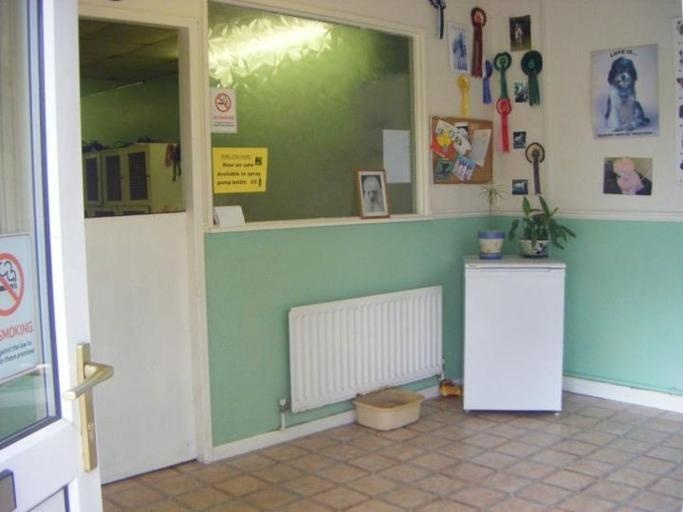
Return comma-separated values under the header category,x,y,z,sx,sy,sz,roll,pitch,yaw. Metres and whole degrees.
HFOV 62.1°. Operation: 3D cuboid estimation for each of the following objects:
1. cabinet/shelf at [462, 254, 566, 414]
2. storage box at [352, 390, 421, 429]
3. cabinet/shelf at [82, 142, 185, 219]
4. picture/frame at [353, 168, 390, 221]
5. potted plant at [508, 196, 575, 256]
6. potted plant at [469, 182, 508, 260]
category,x,y,z,sx,sy,sz,roll,pitch,yaw
cabinet/shelf,1.127,0.529,3.722,0.629,0.976,0.196,0,8,19
storage box,0.316,0.938,3.636,0.291,0.112,0.247,-2,3,-40
cabinet/shelf,-1.920,-0.686,5.115,0.359,0.616,1.829,-9,10,-39
picture/frame,0.186,-0.406,3.757,0.038,0.383,0.303,-4,5,44
potted plant,1.448,-0.247,4.093,0.447,0.332,0.452,7,14,38
potted plant,1.114,-0.253,4.189,0.188,0.546,0.643,-1,8,16
